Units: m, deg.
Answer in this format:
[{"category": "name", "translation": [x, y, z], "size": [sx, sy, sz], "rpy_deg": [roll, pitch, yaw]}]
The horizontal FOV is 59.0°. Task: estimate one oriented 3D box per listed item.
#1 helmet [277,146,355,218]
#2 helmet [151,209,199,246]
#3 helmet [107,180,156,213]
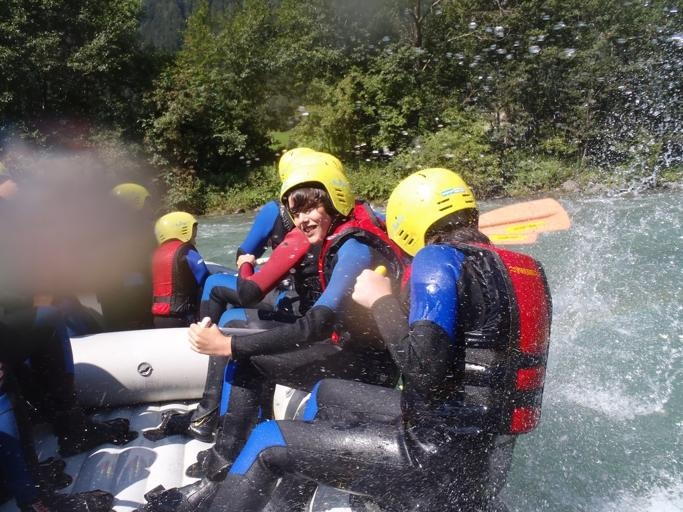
[{"category": "helmet", "translation": [-0.159, -0.588, 4.961], "size": [0.598, 0.529, 0.474], "rpy_deg": [-21, 12, -14]}, {"category": "helmet", "translation": [-1.662, -0.310, 6.063], "size": [0.391, 0.307, 0.287], "rpy_deg": [-12, 18, -21]}, {"category": "helmet", "translation": [-2.074, -0.585, 5.973], "size": [0.259, 0.172, 0.305], "rpy_deg": [24, 9, 5]}]
